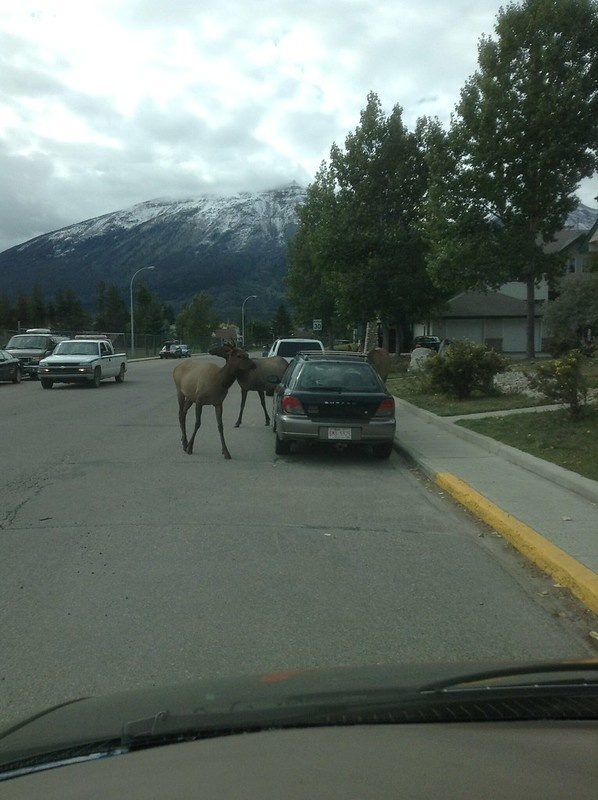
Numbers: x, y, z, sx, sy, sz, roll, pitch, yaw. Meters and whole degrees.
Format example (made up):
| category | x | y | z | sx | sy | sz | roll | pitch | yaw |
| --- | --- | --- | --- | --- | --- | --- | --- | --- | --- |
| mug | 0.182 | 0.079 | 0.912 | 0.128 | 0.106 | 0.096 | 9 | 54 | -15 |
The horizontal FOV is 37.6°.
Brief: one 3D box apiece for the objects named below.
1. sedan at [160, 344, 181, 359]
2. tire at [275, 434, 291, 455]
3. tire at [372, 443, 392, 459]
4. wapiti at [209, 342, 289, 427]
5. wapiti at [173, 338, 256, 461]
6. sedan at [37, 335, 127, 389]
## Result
| category | x | y | z | sx | sy | sz | roll | pitch | yaw |
| --- | --- | --- | --- | --- | --- | --- | --- | --- | --- |
| sedan | -11.179 | -4.008 | 76.420 | 1.483 | 1.390 | 2.663 | 0 | 24 | -10 |
| tire | -0.195 | 0.529 | 10.525 | 0.086 | 0.246 | 0.227 | -2 | 6 | -24 |
| tire | 1.001 | 0.609 | 10.621 | 0.059 | 0.167 | 0.154 | -8 | 21 | -32 |
| wapiti | -0.680 | -0.260 | 14.095 | 0.374 | 1.350 | 1.773 | 13 | 15 | 42 |
| wapiti | -1.142 | 0.001 | 10.807 | 0.421 | 1.371 | 1.617 | 0 | 5 | -38 |
| sedan | -6.411 | -1.095 | 26.062 | 1.472 | 1.387 | 3.331 | 1 | 4 | 7 |
